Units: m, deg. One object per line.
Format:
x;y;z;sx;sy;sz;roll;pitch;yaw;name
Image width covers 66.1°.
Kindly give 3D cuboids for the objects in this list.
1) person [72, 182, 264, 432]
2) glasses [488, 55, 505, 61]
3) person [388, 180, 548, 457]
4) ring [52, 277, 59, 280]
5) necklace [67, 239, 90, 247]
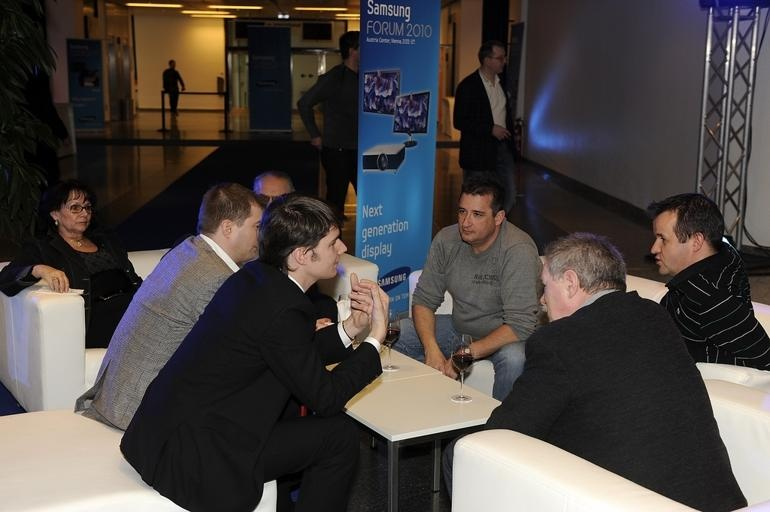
-0.872;0.291;2.883;0.896;1.338;0.579;13;17;-30;person
1.182;-2.065;6.158;0.182;0.066;0.073;-10;17;-33;glasses
0.490;0.314;3.723;0.926;1.519;0.914;6;10;30;person
-1.925;0.126;3.452;0.021;0.016;0.022;0;6;0;ring
-1.983;-0.084;3.837;0.058;0.018;0.062;35;22;28;necklace
